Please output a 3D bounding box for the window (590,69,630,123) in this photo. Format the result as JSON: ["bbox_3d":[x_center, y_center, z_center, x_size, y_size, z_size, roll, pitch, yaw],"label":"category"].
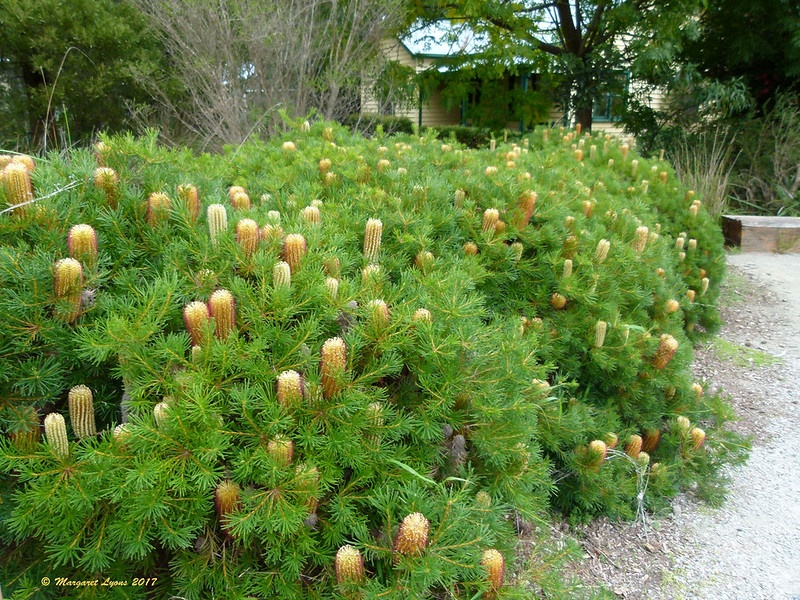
[{"bbox_3d":[3.917,-3.771,10.910,0.077,0.889,0.894,-5,17,-24],"label":"window"}]
